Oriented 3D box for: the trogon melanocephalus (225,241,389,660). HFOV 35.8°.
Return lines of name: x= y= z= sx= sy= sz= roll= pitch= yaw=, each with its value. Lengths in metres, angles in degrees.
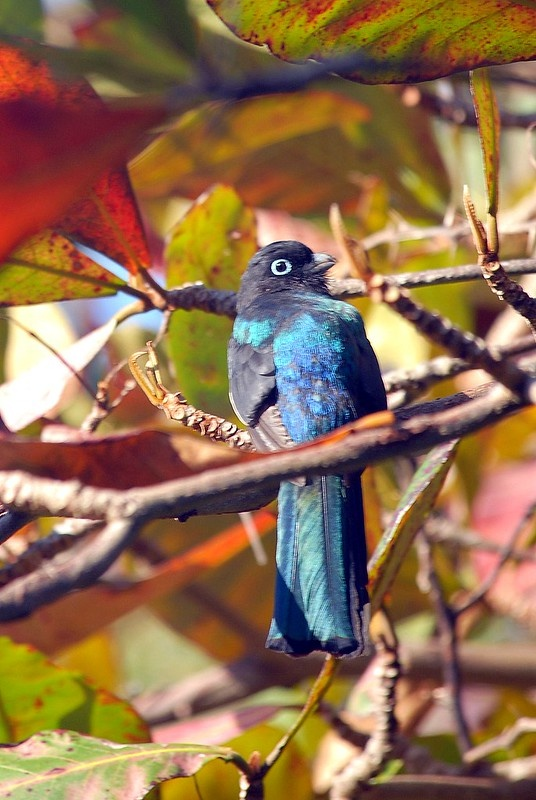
trogon melanocephalus: x=0.090 y=0.052 z=1.870 sx=0.383 sy=0.877 sz=0.576 roll=1 pitch=-15 yaw=6
